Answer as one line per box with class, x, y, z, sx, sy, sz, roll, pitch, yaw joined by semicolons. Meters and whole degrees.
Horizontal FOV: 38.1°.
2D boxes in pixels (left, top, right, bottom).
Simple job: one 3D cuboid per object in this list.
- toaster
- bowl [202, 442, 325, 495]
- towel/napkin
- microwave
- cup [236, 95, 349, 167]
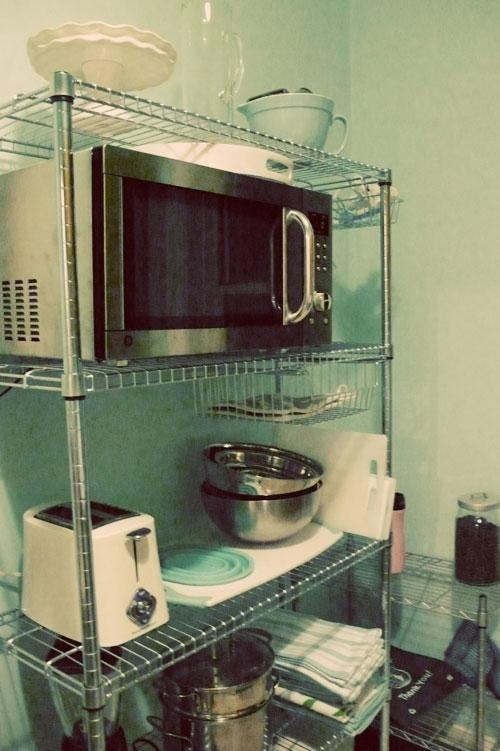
toaster;-0.229;0.262;1.034;0.210;0.152;0.148;4;6;34
bowl;0.022;0.176;1.359;0.207;0.058;0.219;8;9;-1
towel/napkin;0.115;0.562;1.431;0.252;0.085;0.256;2;4;33
microwave;-0.067;-0.163;1.077;0.560;0.287;0.235;-10;10;-39
cup;0.084;-0.468;1.395;0.222;0.106;0.160;-2;0;-10
